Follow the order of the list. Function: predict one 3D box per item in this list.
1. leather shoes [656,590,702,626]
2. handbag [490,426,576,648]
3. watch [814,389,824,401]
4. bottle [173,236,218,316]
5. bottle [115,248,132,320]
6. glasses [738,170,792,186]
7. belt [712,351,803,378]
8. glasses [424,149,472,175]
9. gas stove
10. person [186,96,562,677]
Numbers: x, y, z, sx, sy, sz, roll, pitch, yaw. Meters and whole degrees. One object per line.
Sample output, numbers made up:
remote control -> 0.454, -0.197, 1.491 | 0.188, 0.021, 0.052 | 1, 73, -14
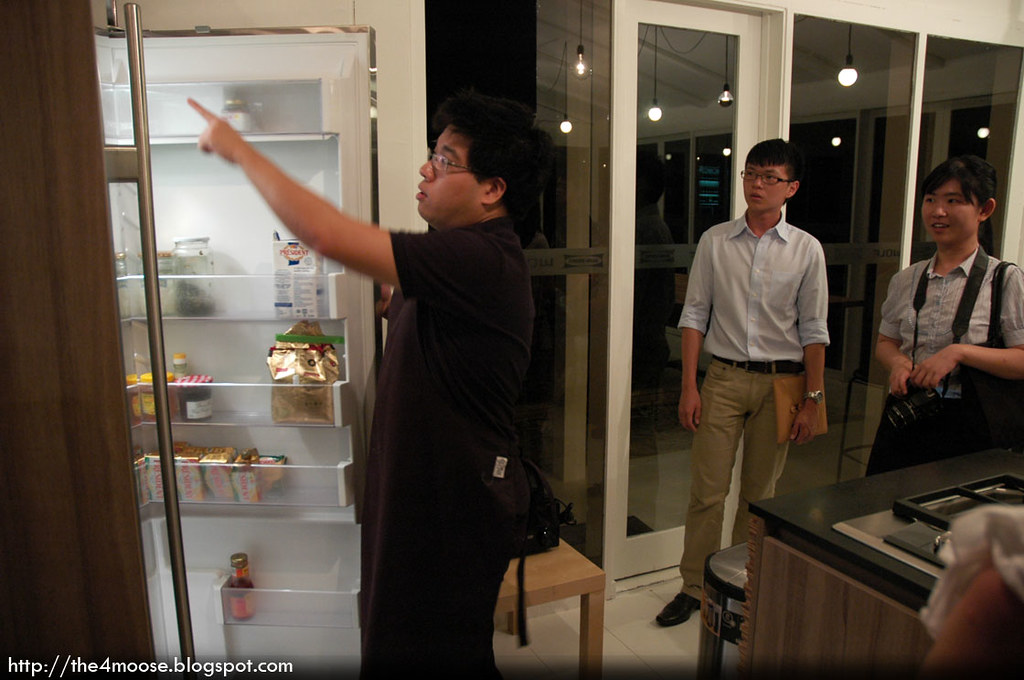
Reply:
leather shoes -> 0.695, 1.109, 3.140 | 0.242, 0.092, 0.085 | -9, 8, -43
handbag -> 0.114, 0.657, 2.420 | 0.197, 0.607, 0.136 | -7, -34, 13
watch -> 1.238, 0.219, 3.004 | 0.032, 0.040, 0.014 | 4, -10, -7
bottle -> -1.141, -0.228, 2.575 | 0.218, 0.266, 0.214 | -2, 4, -29
bottle -> -0.854, -0.123, 1.644 | 0.022, 0.142, 0.297 | -8, 10, -26
glasses -> 1.014, -0.647, 2.974 | 0.177, 0.059, 0.068 | 1, 10, 21
belt -> 1.014, 0.105, 3.063 | 0.369, 0.085, 0.091 | -2, 9, 7
glasses -> -0.170, -0.469, 1.999 | 0.079, 0.021, 0.078 | -1, 32, -32
gas stove -> 0.917, 0.441, 1.891 | 0.495, 0.096, 0.312 | -8, 14, -28
person -> -0.248, 0.152, 2.050 | 0.818, 1.613, 0.384 | -6, 9, -16
